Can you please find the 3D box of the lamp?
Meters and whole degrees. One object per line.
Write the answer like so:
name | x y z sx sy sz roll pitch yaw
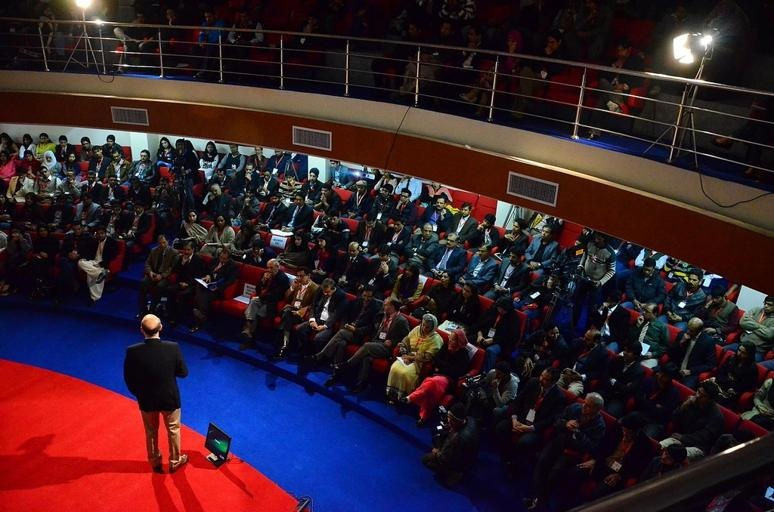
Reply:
lamp | 4.569 -2.514 8.459 0.666 2.212 2.106 15 13 24

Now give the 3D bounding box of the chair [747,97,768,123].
chair | 5.244 -2.082 7.746 0.192 0.398 0.659 16 13 29

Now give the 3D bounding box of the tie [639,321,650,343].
tie | 4.506 1.342 9.649 0.178 0.375 0.070 3 13 -29
